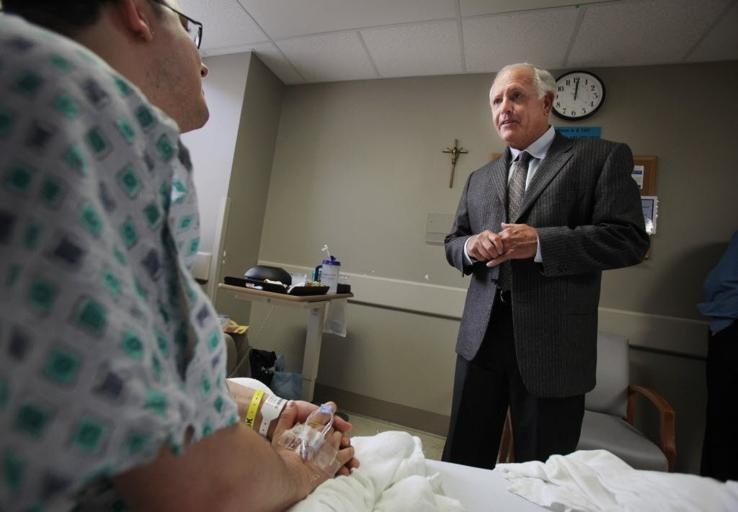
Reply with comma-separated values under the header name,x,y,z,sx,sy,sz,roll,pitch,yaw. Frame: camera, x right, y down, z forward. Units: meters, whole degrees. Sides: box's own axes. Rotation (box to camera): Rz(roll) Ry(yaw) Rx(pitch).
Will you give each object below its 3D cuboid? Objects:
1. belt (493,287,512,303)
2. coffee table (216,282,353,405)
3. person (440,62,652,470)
name,x,y,z,sx,sy,sz,roll,pitch,yaw
belt,0.550,0.160,2.028,0.052,0.061,0.060,-3,7,-26
coffee table,-0.509,0.527,2.995,0.480,0.694,0.694,3,-3,19
person,0.670,0.020,2.017,0.825,1.767,0.433,2,-5,32
